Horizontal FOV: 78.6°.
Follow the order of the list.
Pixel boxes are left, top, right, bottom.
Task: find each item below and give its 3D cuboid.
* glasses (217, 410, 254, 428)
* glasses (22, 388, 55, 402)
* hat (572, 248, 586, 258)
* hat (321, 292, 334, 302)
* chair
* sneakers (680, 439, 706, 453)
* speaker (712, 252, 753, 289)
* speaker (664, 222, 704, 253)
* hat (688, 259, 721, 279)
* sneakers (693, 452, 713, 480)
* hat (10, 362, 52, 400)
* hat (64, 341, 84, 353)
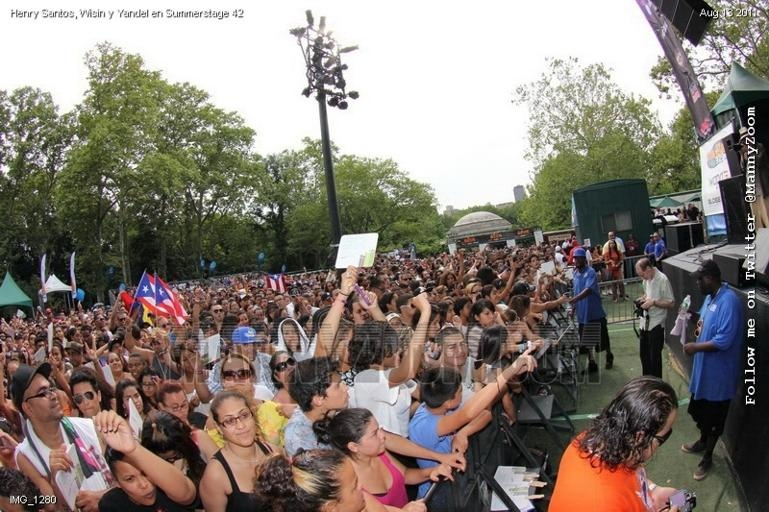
[{"bbox_3d":[-1.383,1.535,4.379,0.286,0.131,0.090,-3,-1,-18],"label":"glasses"},{"bbox_3d":[-3.533,1.433,4.830,0.256,0.094,0.156,-1,-3,-42],"label":"glasses"},{"bbox_3d":[4.348,-0.049,10.425,0.398,0.224,0.278,2,-2,-42],"label":"hat"},{"bbox_3d":[-1.367,1.047,11.263,0.263,0.293,0.229,0,40,-22],"label":"hat"},{"bbox_3d":[1.575,1.870,6.152,1.517,2.740,1.127,-10,41,-2],"label":"chair"},{"bbox_3d":[4.518,2.843,6.963,0.391,0.172,0.142,-2,28,15],"label":"sneakers"},{"bbox_3d":[4.651,0.221,6.228,0.195,0.288,0.382,-10,21,0],"label":"speaker"},{"bbox_3d":[9.949,-0.608,15.346,0.829,0.812,0.460,-12,3,3],"label":"speaker"},{"bbox_3d":[4.346,0.196,6.375,0.246,0.239,0.354,-3,1,-29],"label":"hat"},{"bbox_3d":[4.413,2.940,6.464,0.395,0.152,0.131,-42,24,-17],"label":"sneakers"},{"bbox_3d":[-3.723,1.290,4.937,0.306,0.451,0.211,21,18,7],"label":"hat"},{"bbox_3d":[-5.567,1.634,8.365,0.322,0.116,0.251,18,-7,0],"label":"hat"}]
